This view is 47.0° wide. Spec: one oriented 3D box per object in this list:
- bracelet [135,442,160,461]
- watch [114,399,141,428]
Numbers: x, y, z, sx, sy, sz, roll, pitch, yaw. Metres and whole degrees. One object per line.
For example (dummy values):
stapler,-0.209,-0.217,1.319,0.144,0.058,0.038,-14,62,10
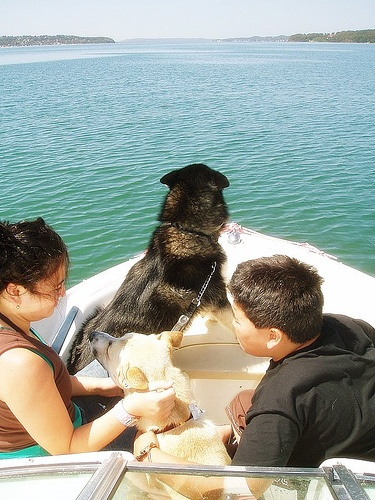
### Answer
bracelet,-0.169,0.819,1.755,0.046,0.026,0.054,1,30,34
watch,-0.267,0.689,1.848,0.119,0.079,0.110,36,21,-22
